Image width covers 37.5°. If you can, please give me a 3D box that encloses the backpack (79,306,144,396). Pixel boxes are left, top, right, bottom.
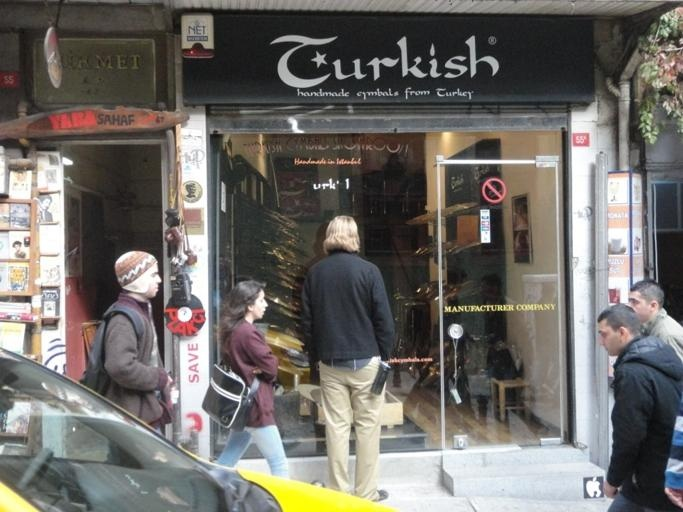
[{"bbox_3d":[-1.888,0.814,8.485,0.401,0.740,0.476,0,-3,-3],"label":"backpack"}]

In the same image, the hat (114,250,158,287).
[{"bbox_3d":[-1.738,0.091,8.598,0.334,0.270,0.257,-26,12,-7],"label":"hat"}]

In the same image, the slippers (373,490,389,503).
[{"bbox_3d":[0.367,2.237,9.410,0.067,0.086,0.204,4,12,20],"label":"slippers"}]
